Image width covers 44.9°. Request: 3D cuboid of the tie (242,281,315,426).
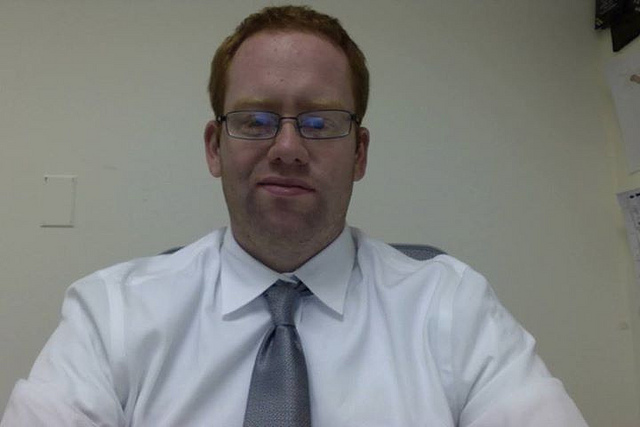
[{"bbox_3d":[-0.161,0.518,2.876,0.225,0.502,0.170,0,-8,-4],"label":"tie"}]
